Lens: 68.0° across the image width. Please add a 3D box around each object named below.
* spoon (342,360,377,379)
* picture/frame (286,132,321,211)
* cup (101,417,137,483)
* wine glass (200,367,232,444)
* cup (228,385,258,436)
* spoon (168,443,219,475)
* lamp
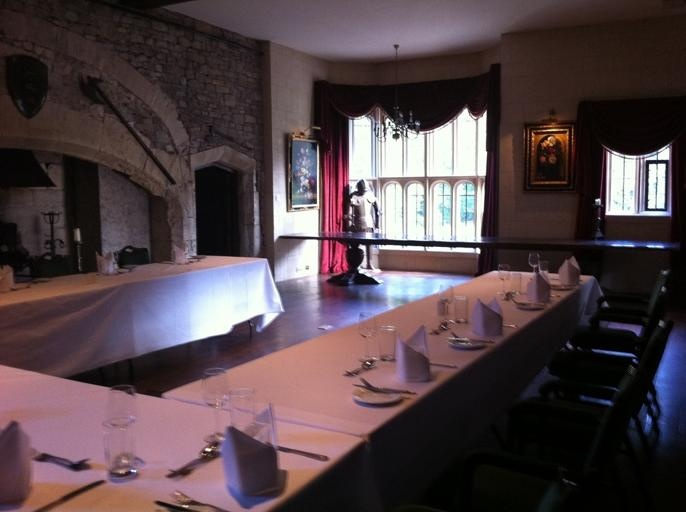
[{"bbox_3d":[0.092,0.552,2.508,0.059,0.045,0.170,9,15,26],"label":"spoon"},{"bbox_3d":[-0.798,-1.682,9.939,0.155,1.726,1.427,1,4,27],"label":"picture/frame"},{"bbox_3d":[-0.742,0.635,1.701,0.100,0.181,0.139,-4,11,-28],"label":"cup"},{"bbox_3d":[-0.474,0.549,1.899,0.093,0.246,0.324,-2,10,-16],"label":"wine glass"},{"bbox_3d":[-0.350,0.517,1.764,0.091,0.119,0.201,-1,10,-14],"label":"cup"},{"bbox_3d":[-0.504,0.705,1.747,0.081,0.029,0.206,8,12,34],"label":"spoon"},{"bbox_3d":[1.059,-3.119,9.969,0.989,1.761,2.368,1,10,3],"label":"lamp"}]
